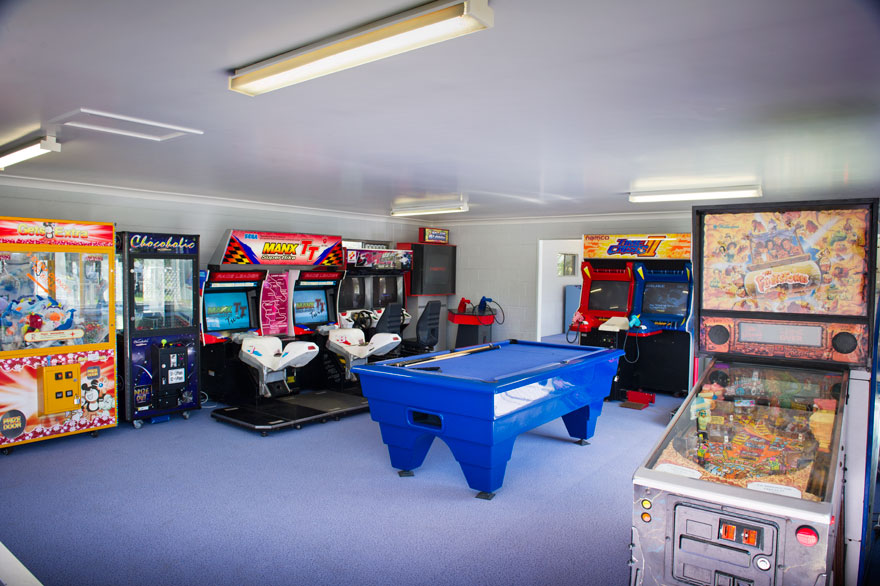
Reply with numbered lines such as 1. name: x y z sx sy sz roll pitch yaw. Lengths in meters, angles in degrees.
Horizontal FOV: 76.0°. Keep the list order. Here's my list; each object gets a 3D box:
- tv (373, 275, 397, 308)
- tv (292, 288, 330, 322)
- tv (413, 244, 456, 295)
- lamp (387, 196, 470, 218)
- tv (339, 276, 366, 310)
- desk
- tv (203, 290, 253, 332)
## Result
1. tv: -0.987 -0.032 9.921 0.316 0.496 0.580 6 6 37
2. tv: -2.085 0.184 8.991 0.223 0.493 0.586 -5 -4 43
3. tv: 0.036 -0.456 11.125 1.220 0.986 0.446 3 3 43
4. lamp: -0.192 -1.395 8.847 0.987 0.280 1.589 -1 9 -13
5. tv: -1.478 -0.014 9.541 0.071 0.584 0.537 9 12 39
6. desk: 0.743 1.266 6.480 1.850 1.118 2.920 1 3 36
7. tv: -3.072 0.241 8.215 0.827 0.636 0.290 -4 -1 5
